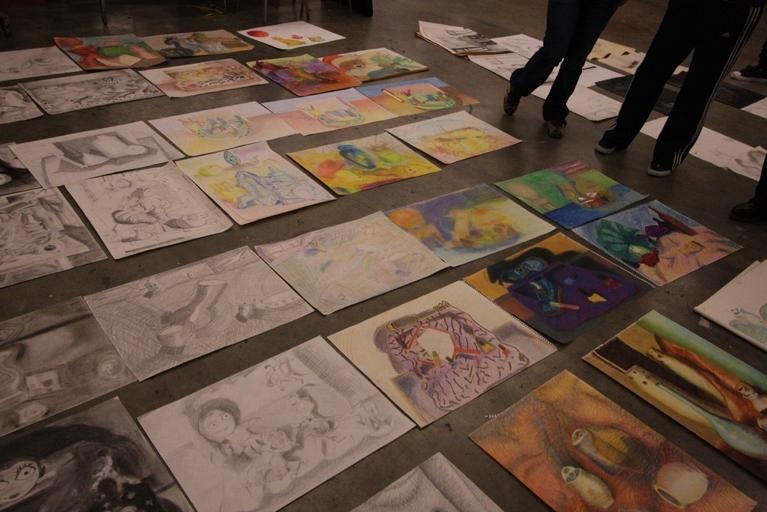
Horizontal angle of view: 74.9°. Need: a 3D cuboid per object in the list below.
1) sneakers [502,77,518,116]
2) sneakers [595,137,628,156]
[{"bbox_3d":[0.964,-1.237,3.866,0.106,0.269,0.104,19,60,10],"label":"sneakers"},{"bbox_3d":[1.630,-0.799,3.639,0.295,0.105,0.099,-9,46,-33],"label":"sneakers"}]
